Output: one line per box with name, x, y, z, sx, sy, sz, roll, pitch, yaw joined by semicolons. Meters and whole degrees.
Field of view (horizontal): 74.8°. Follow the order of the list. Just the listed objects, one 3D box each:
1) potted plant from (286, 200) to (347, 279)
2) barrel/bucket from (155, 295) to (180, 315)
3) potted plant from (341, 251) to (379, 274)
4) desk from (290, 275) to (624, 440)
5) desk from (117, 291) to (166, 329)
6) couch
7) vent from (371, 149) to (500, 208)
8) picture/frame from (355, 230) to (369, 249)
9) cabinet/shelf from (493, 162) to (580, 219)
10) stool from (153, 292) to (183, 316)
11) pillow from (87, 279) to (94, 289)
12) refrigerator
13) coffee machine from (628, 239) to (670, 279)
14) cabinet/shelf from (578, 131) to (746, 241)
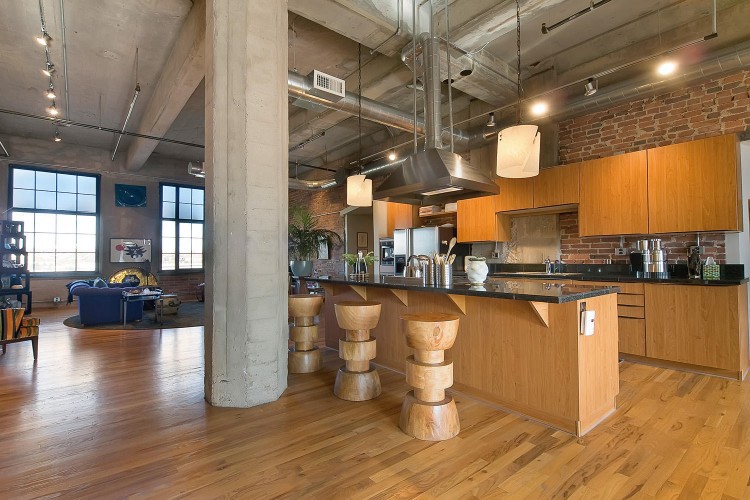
potted plant;-1.914;-0.190;12.778;1.353;1.712;1.375;-6;-9;37
barrel/bucket;-4.255;1.124;10.140;0.484;0.414;0.328;-1;5;-19
potted plant;-0.302;0.220;8.243;0.622;0.324;0.601;1;2;17
desk;1.354;1.260;7.255;1.618;1.465;4.720;-1;-2;-25
desk;-4.711;1.120;10.036;0.751;0.583;0.584;2;4;-18
couch;-5.603;1.049;10.219;1.151;0.774;1.652;-4;6;-32
vent;0.802;-1.052;6.797;1.452;0.512;1.139;-3;0;42
picture/frame;-0.350;-0.282;12.436;0.487;0.498;0.059;4;-9;-40
cabinet/shelf;2.667;-0.988;7.951;0.295;0.501;1.118;7;-8;-44
stool;-4.213;1.135;10.139;0.499;0.429;0.387;-1;-1;4
pillow;-6.480;0.766;11.192;0.127;0.128;0.113;-1;-2;14
refrigerator;0.949;0.074;10.135;1.148;1.006;0.614;0;0;37
coffee machine;4.143;0.107;7.380;0.565;0.538;0.452;-4;6;33
cabinet/shelf;4.290;-0.917;7.235;1.896;1.185;0.580;-2;-5;42
